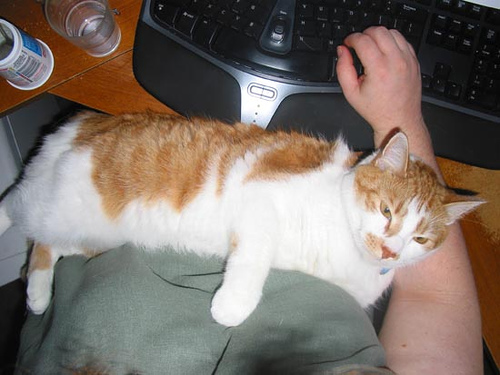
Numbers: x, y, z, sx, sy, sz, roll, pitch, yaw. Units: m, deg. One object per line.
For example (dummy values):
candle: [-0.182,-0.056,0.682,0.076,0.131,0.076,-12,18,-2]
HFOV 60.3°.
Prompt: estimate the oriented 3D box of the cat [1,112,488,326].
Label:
cat: [-0.138,0.014,1.752,1.388,0.821,0.826,8,32,-9]
